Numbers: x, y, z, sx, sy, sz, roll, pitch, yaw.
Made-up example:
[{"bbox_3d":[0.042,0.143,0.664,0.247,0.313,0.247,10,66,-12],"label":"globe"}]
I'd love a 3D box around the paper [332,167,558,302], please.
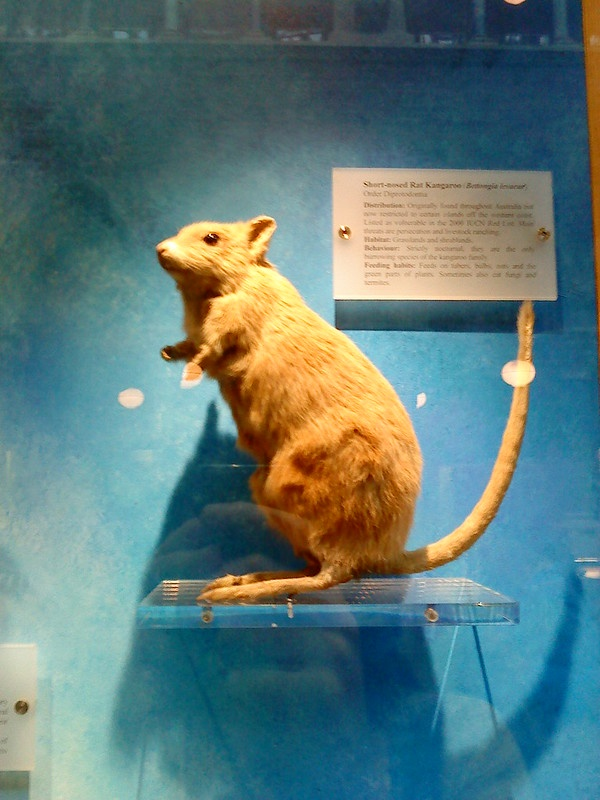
[{"bbox_3d":[0.222,-0.261,1.434,0.265,0.025,0.143,1,81,-5],"label":"paper"}]

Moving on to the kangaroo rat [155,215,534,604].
[{"bbox_3d":[0.084,-0.009,1.373,0.573,0.242,0.573,-8,61,-4],"label":"kangaroo rat"}]
